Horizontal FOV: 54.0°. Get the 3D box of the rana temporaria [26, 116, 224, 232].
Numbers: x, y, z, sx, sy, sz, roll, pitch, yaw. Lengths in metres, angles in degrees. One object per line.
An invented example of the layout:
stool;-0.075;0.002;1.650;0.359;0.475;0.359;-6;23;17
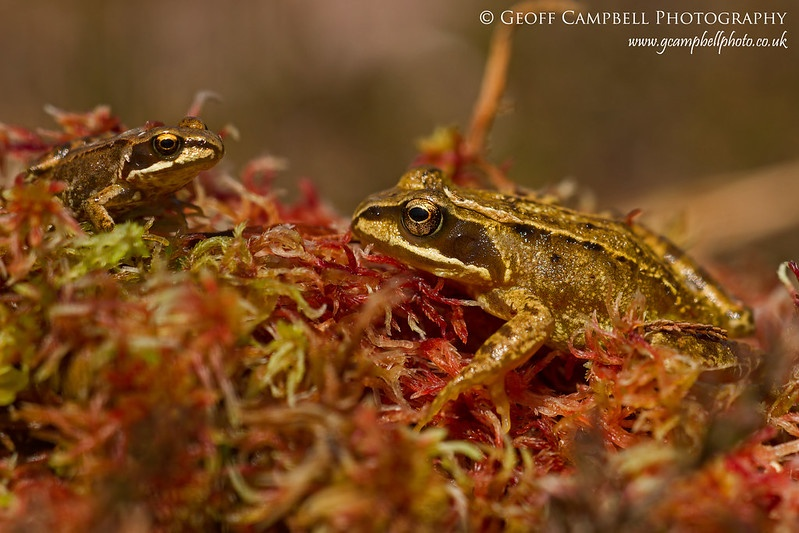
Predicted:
rana temporaria;-0.956;-0.342;2.764;0.597;0.227;0.440;3;39;13
